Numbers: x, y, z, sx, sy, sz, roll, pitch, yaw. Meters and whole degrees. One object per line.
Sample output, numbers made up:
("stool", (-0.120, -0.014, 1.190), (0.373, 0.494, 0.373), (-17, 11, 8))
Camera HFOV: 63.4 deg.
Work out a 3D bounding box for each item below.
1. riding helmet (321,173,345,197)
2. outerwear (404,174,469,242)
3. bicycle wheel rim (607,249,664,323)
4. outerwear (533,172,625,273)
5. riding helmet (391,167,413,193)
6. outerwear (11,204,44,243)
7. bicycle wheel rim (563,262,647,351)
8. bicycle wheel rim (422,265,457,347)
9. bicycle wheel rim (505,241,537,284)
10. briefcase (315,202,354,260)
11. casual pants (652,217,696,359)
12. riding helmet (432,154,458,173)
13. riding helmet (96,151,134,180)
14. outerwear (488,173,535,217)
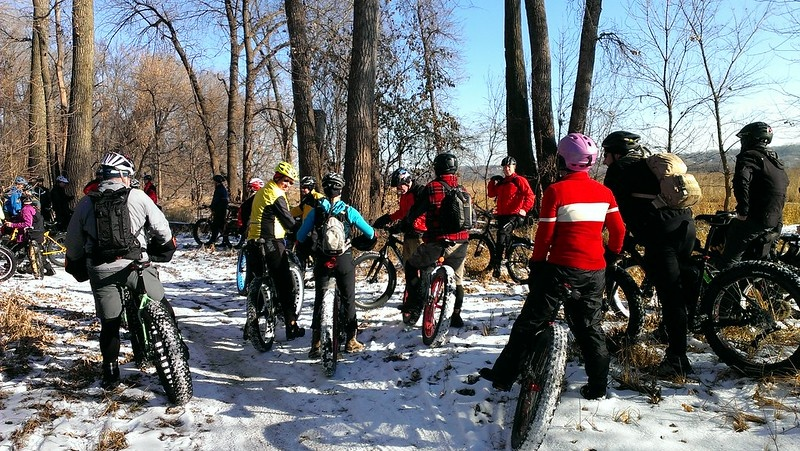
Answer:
("riding helmet", (-1.503, -0.877, 14.401), (0.517, 0.492, 0.436), (15, -5, 27))
("outerwear", (0.752, -0.327, 14.594), (1.665, 1.623, 1.098), (1, 4, 10))
("bicycle wheel rim", (5.604, 1.315, 14.513), (0.484, 1.614, 1.595), (-12, 3, -14))
("outerwear", (3.605, 0.000, 12.781), (1.898, 1.838, 1.146), (2, 11, -3))
("riding helmet", (-0.056, -1.087, 15.889), (0.450, 0.556, 0.596), (2, 0, 34))
("outerwear", (-10.728, -0.056, 18.905), (0.991, 1.375, 1.042), (-2, 1, -33))
("bicycle wheel rim", (4.796, 1.784, 13.892), (0.476, 1.801, 1.778), (-3, -3, -18))
("bicycle wheel rim", (0.884, 1.794, 14.408), (0.388, 1.527, 1.513), (6, 10, -15))
("bicycle wheel rim", (3.091, 0.917, 16.483), (1.217, 1.189, 0.249), (2, 6, 35))
("briefcase", (-1.446, 0.184, 14.052), (0.792, 1.023, 1.001), (2, 4, -2))
("casual pants", (5.649, 1.196, 13.273), (1.053, 2.856, 0.557), (1, 3, -15))
("riding helmet", (1.097, -1.396, 14.737), (0.501, 0.459, 0.406), (20, 20, 40))
("riding helmet", (-5.994, -1.210, 13.747), (0.495, 0.622, 0.649), (12, -7, -8))
("outerwear", (3.154, -0.837, 18.148), (0.691, 1.088, 1.327), (7, -7, -40))
